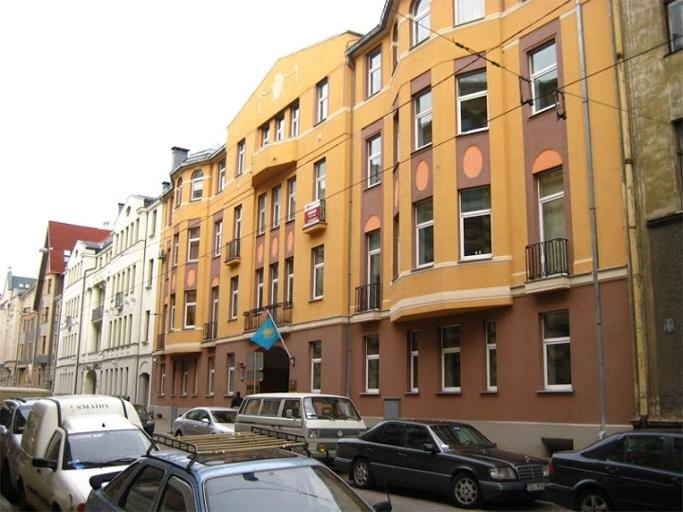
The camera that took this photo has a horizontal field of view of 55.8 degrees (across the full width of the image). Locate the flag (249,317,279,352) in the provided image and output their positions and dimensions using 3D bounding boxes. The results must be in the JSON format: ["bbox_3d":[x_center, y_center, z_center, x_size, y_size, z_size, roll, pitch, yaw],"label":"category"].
[{"bbox_3d":[-3.510,3.650,29.581,1.243,1.641,0.100,30,5,10],"label":"flag"}]
